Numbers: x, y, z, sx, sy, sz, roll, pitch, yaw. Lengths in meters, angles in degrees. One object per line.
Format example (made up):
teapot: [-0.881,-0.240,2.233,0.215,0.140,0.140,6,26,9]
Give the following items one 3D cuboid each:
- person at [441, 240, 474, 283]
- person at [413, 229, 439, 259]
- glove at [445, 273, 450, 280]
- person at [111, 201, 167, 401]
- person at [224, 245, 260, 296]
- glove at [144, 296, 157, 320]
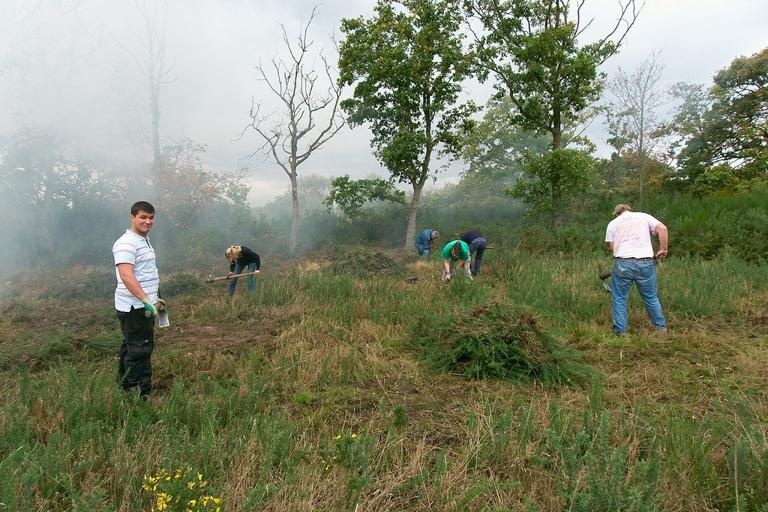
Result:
person: [1.961,0.131,16.788,0.804,1.113,0.989,-1,3,28]
person: [1.574,-0.424,22.726,0.736,1.024,2.072,-2,3,3]
glove: [1.770,0.593,16.658,0.157,0.194,0.321,-2,3,-3]
person: [-4.964,0.866,12.245,0.884,3.914,0.623,-3,3,-25]
person: [-4.128,0.420,17.716,0.887,1.386,1.348,-3,3,-15]
glove: [-4.680,1.082,12.172,0.218,0.355,0.123,6,10,19]
